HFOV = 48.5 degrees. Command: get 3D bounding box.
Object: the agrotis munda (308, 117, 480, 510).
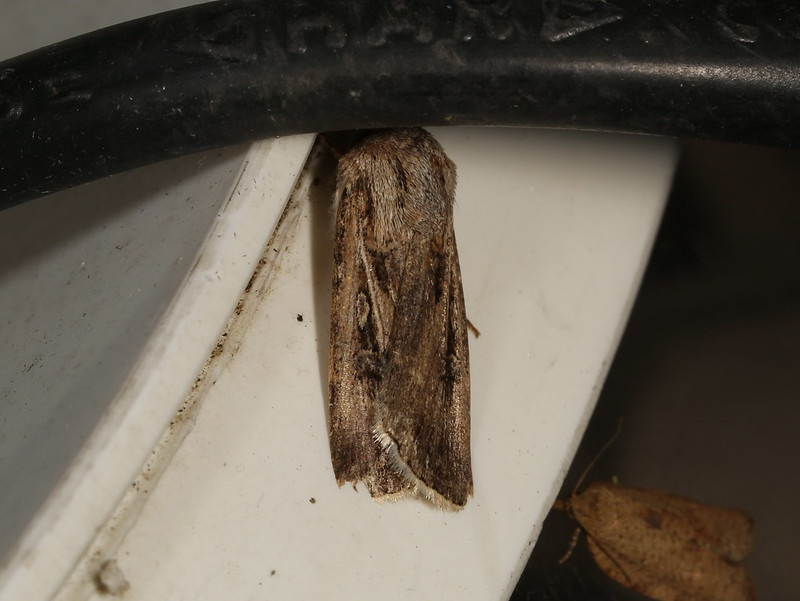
[{"bbox_3d":[0.000,0.046,1.455,0.228,0.642,0.175,-2,-3,-11],"label":"agrotis munda"}]
